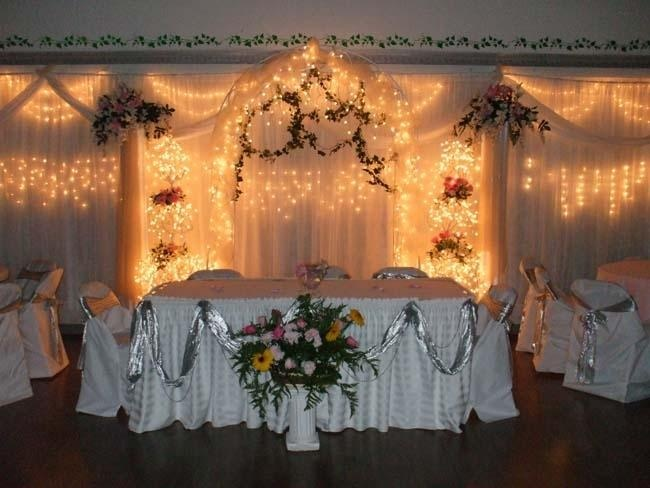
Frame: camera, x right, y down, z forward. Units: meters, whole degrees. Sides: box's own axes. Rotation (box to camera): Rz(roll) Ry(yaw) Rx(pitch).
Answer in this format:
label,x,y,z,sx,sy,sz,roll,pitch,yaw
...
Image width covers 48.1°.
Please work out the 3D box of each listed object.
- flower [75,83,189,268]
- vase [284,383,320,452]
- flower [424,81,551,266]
label,x,y,z,sx,sy,sz,roll,pitch,yaw
flower,-2.211,-0.795,8.642,1.088,2.236,0.470,0,-1,-15
vase,-0.211,1.517,6.255,0.427,0.548,0.437,-10,-13,43
flower,1.820,-0.861,8.792,1.560,2.065,0.565,-2,13,-5
